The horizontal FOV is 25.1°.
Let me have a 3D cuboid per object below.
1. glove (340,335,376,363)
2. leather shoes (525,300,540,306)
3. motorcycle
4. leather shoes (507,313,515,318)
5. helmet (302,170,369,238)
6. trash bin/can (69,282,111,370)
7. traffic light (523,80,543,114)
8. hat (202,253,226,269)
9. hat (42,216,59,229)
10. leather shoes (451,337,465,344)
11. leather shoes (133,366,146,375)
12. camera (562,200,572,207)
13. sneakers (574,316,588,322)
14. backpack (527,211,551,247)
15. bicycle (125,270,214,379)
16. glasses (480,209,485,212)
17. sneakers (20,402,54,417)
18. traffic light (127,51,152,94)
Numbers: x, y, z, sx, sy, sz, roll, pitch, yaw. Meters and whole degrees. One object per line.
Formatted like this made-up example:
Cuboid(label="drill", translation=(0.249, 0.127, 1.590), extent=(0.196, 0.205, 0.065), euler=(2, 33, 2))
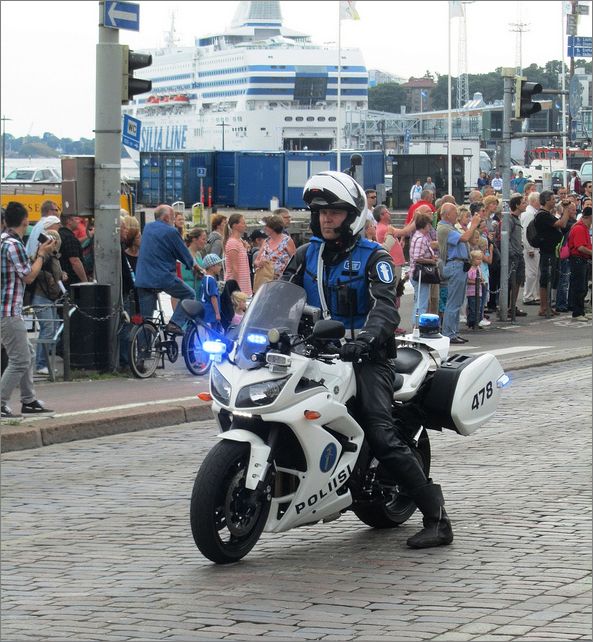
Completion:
Cuboid(label="glove", translation=(0.317, 0.150, 6.904), extent=(0.127, 0.095, 0.223), euler=(-7, -3, 1))
Cuboid(label="leather shoes", translation=(4.100, -0.311, 22.831), extent=(0.270, 0.112, 0.101), euler=(0, 9, 7))
Cuboid(label="motorcycle", translation=(0.214, 0.564, 7.223), extent=(0.677, 1.517, 1.849), euler=(7, 5, 41))
Cuboid(label="leather shoes", translation=(3.285, -0.078, 20.099), extent=(0.070, 0.105, 0.183), euler=(1, -4, 11))
Cuboid(label="helmet", translation=(0.191, -0.655, 7.371), extent=(0.302, 0.368, 0.376), euler=(5, 15, 28))
Cuboid(label="trash bin/can", translation=(-2.215, 0.078, 13.783), extent=(0.449, 0.907, 0.206), euler=(3, 4, -10))
Cuboid(label="traffic light", translation=(3.511, -3.287, 19.620), extent=(0.311, 0.569, 1.141), euler=(4, 4, 9))
Cuboid(label="hat", translation=(-0.947, -0.645, 14.557), extent=(0.227, 0.136, 0.165), euler=(-12, 14, -7))
Cuboid(label="hat", translation=(-2.611, -0.995, 13.657), extent=(0.151, 0.166, 0.125), euler=(8, 17, -27))
Cuboid(label="leather shoes", translation=(2.100, 0.267, 17.239), extent=(0.129, 0.072, 0.173), euler=(-1, -2, -34))
Cuboid(label="leather shoes", translation=(-1.677, 0.540, 13.737), extent=(0.045, 0.113, 0.210), euler=(5, 4, 23))
Cuboid(label="camera", translation=(4.272, -1.816, 20.653), extent=(0.120, 0.172, 0.062), euler=(-4, -26, 13))
Cuboid(label="sneakers", translation=(4.426, -0.028, 20.302), extent=(0.236, 0.106, 0.089), euler=(2, 6, 25))
Cuboid(label="backpack", translation=(3.848, -1.444, 21.156), extent=(0.390, 0.712, 0.486), euler=(0, 1, -4))
Cuboid(label="bicycle", translation=(-1.399, 0.219, 14.013), extent=(0.627, 0.884, 1.401), euler=(4, 8, 31))
Cuboid(label="glasses", translation=(2.735, -1.583, 19.290), extent=(0.049, 0.039, 0.067), euler=(-1, 6, 4))
Cuboid(label="sneakers", translation=(-2.247, 0.737, 11.041), extent=(0.308, 0.135, 0.105), euler=(0, 2, -9))
Cuboid(label="traffic light", translation=(-1.756, -2.625, 14.196), extent=(0.243, 0.560, 1.042), euler=(3, 4, -7))
